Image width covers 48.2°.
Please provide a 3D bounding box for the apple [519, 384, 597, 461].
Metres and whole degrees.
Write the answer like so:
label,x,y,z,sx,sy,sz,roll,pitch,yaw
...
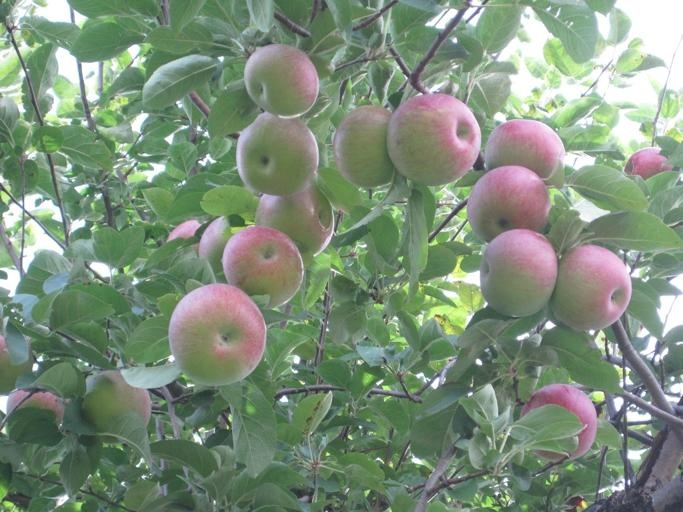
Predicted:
label,x,y,z,sx,sy,sz,roll,pitch,yaw
apple,1.075,0.800,3.674,0.378,0.251,0.255,40,-54,-10
